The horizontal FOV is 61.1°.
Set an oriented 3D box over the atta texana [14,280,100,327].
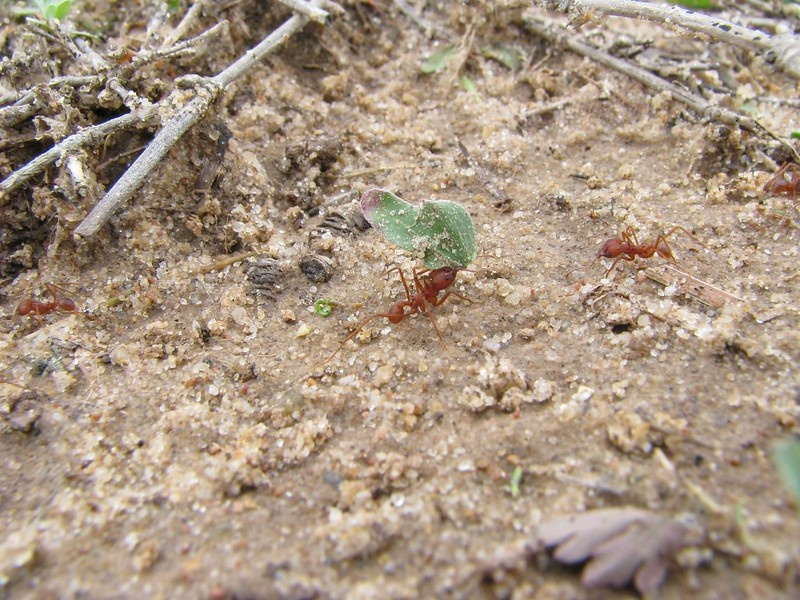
[{"bbox_3d":[-1.707,0.009,3.349,0.403,0.142,0.164,1,44,-7],"label":"atta texana"}]
